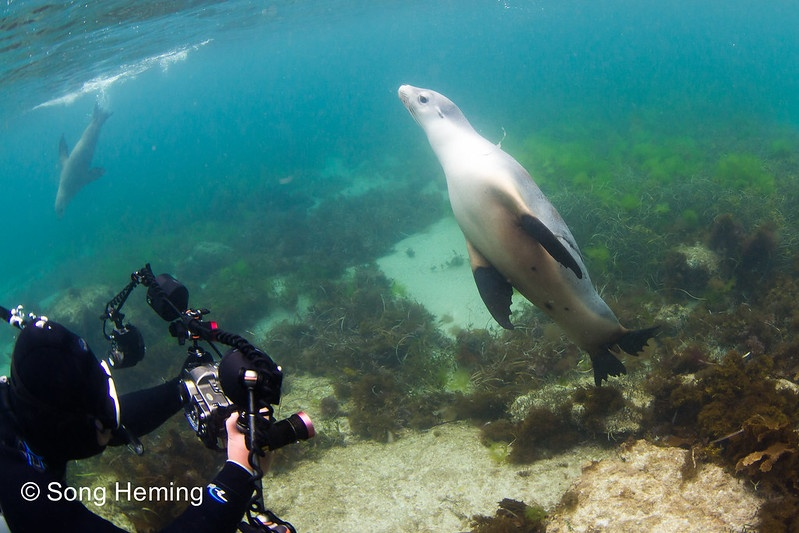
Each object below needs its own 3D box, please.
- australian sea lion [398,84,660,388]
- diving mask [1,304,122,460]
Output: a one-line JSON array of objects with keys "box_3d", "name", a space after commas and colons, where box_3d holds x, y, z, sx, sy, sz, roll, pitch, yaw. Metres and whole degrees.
[{"box_3d": [4.733, -0.992, 20.685, 4.148, 11.618, 3.806, -42, 2, -40], "name": "australian sea lion"}, {"box_3d": [-9.915, 3.504, 19.351, 3.953, 2.265, 2.859, 27, 44, 14], "name": "diving mask"}]
